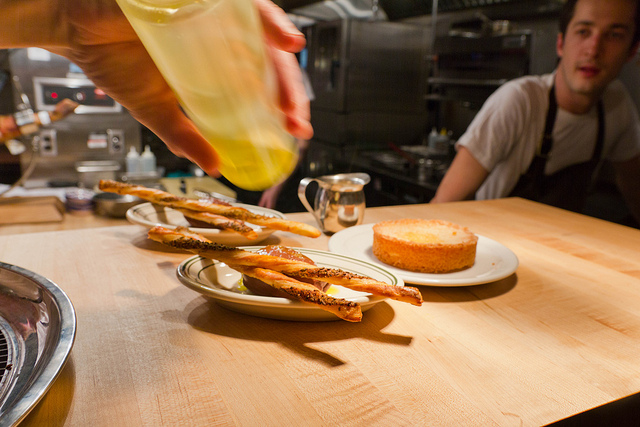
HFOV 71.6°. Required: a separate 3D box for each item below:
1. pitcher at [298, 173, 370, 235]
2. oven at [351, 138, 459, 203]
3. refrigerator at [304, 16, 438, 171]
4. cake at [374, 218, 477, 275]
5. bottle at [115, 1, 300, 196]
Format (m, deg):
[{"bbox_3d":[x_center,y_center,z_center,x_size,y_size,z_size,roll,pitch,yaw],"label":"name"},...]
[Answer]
[{"bbox_3d":[0.041,-0.029,1.254,0.206,0.211,0.180,-10,15,-39],"label":"pitcher"},{"bbox_3d":[0.429,-0.220,2.344,0.348,0.284,0.609,-13,28,-33],"label":"oven"},{"bbox_3d":[0.353,-0.675,2.505,0.575,0.827,0.549,-8,35,-12],"label":"refrigerator"},{"bbox_3d":[0.230,0.049,0.935,0.151,0.049,0.143,-5,18,-25],"label":"cake"},{"bbox_3d":[-0.129,-0.124,0.509,0.189,0.217,0.067,7,24,16],"label":"bottle"}]
